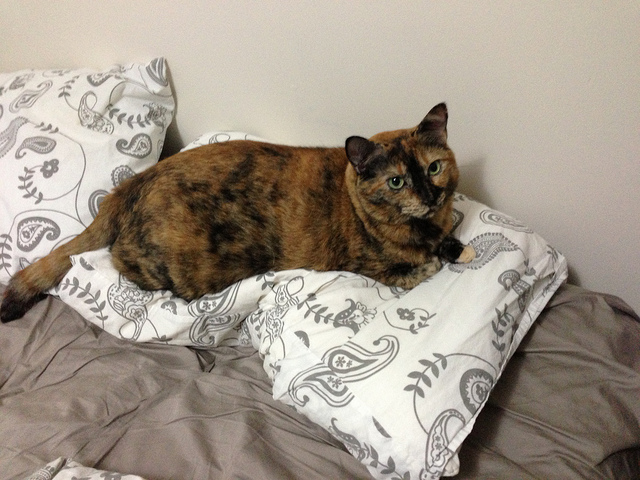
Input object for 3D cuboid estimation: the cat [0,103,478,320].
[{"bbox_3d":[-0.253,-0.012,2.456,1.603,0.701,0.796,-8,42,3],"label":"cat"}]
